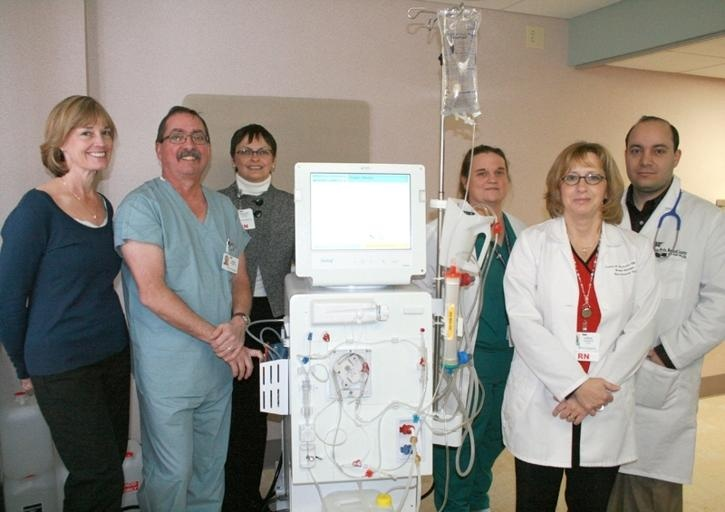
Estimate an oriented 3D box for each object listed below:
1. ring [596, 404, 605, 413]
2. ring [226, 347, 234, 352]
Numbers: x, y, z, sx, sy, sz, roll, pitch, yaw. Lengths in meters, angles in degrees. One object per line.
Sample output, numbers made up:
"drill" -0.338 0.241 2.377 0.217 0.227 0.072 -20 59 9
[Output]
"ring" 1.151 0.729 2.889 0.010 0.044 0.044 25 -31 9
"ring" -0.655 0.453 2.926 0.030 0.028 0.009 0 3 -19
